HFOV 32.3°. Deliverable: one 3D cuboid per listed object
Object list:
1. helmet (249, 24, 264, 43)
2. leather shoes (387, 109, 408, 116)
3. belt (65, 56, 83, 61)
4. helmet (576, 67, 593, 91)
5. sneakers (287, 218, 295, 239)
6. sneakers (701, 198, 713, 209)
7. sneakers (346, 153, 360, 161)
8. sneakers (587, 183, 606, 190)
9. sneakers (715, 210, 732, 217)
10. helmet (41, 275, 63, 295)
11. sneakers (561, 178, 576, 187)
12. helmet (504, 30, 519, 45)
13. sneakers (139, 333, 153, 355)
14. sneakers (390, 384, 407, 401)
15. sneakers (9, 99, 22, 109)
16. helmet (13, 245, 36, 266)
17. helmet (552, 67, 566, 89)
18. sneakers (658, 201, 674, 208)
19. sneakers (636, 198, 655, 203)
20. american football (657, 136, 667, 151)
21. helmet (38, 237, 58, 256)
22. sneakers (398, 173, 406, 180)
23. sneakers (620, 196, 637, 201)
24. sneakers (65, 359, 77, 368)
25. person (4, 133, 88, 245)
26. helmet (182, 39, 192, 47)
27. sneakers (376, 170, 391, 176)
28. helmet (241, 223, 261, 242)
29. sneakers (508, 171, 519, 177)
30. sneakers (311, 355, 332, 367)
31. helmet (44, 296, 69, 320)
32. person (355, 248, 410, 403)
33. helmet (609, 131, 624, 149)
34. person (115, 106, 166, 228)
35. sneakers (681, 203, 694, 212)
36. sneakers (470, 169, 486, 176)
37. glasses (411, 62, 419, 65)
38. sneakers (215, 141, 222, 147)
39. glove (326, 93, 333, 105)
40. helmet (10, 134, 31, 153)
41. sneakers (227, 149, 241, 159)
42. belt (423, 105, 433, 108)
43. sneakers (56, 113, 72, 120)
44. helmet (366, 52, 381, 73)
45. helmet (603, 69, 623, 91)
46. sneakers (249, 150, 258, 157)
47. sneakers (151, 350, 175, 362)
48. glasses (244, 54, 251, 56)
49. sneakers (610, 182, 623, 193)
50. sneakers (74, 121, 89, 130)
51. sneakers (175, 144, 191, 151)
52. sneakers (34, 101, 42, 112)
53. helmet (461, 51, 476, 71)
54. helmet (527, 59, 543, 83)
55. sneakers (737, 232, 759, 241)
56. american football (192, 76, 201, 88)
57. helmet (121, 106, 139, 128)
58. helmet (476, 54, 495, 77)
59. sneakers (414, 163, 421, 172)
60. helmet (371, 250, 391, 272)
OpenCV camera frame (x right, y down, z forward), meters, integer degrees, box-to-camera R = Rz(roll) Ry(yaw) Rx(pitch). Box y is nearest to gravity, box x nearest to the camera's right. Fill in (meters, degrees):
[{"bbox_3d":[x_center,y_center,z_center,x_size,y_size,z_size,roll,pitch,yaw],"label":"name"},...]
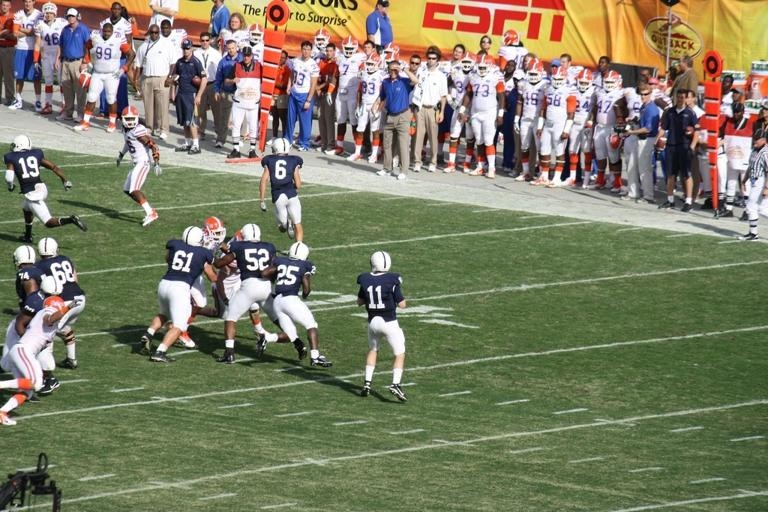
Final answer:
[{"bbox_3d":[-2.556,-4.416,26.720,0.292,0.406,0.351,3,6,-5],"label":"helmet"},{"bbox_3d":[0.312,-2.719,25.478,0.421,0.127,0.138,3,6,2],"label":"leather shoes"},{"bbox_3d":[-6.465,-4.047,27.642,0.367,0.094,0.083,2,6,-11],"label":"belt"},{"bbox_3d":[3.859,-3.341,25.405,0.364,0.349,0.454,3,14,13],"label":"helmet"},{"bbox_3d":[-1.492,-0.430,21.975,0.125,0.282,0.129,0,14,5],"label":"sneakers"},{"bbox_3d":[6.044,-0.959,24.654,0.110,0.226,0.226,-1,7,-41],"label":"sneakers"},{"bbox_3d":[-0.614,-1.967,26.927,0.145,0.081,0.250,-8,5,-44],"label":"sneakers"},{"bbox_3d":[4.163,-1.322,25.685,0.281,0.087,0.129,3,-1,-20],"label":"sneakers"},{"bbox_3d":[6.230,-0.751,24.049,0.271,0.149,0.076,1,7,-22],"label":"sneakers"},{"bbox_3d":[-4.268,0.390,17.099,0.215,0.225,0.277,36,3,-21],"label":"helmet"},{"bbox_3d":[3.629,-1.407,25.881,0.267,0.170,0.299,4,5,8],"label":"sneakers"},{"bbox_3d":[2.633,-4.368,26.953,0.294,0.338,0.650,4,5,4],"label":"helmet"},{"bbox_3d":[-3.286,1.209,18.125,0.169,0.167,0.384,8,-33,6],"label":"sneakers"},{"bbox_3d":[0.207,1.773,17.386,0.240,0.242,0.310,3,5,1],"label":"sneakers"},{"bbox_3d":[-8.008,-3.250,28.790,0.273,0.230,0.321,1,6,-18],"label":"sneakers"},{"bbox_3d":[-4.779,-0.002,17.813,0.295,0.241,0.342,1,7,-28],"label":"helmet"},{"bbox_3d":[3.352,-3.327,25.048,0.290,0.380,0.171,4,6,4],"label":"helmet"},{"bbox_3d":[5.263,-0.913,24.529,0.322,0.105,0.114,2,5,12],"label":"sneakers"},{"bbox_3d":[4.969,-1.014,24.946,0.345,0.103,0.110,2,12,7],"label":"sneakers"},{"bbox_3d":[5.057,-2.024,23.950,0.210,0.204,0.239,0,1,3],"label":"american football"},{"bbox_3d":[-4.538,-0.108,17.953,0.249,0.212,0.306,7,5,24],"label":"helmet"},{"bbox_3d":[0.385,-1.514,25.678,0.158,0.063,0.186,2,3,2],"label":"sneakers"},{"bbox_3d":[4.667,-1.065,24.947,0.256,0.084,0.099,1,9,14],"label":"sneakers"},{"bbox_3d":[-4.164,1.445,17.762,0.134,0.104,0.092,-2,4,32],"label":"sneakers"},{"bbox_3d":[-5.535,-1.038,21.418,1.193,1.698,0.701,4,6,2],"label":"person"},{"bbox_3d":[-3.913,-4.184,26.500,0.198,0.111,0.246,2,1,4],"label":"helmet"},{"bbox_3d":[0.014,-1.601,26.002,0.102,0.104,0.281,10,4,42],"label":"sneakers"},{"bbox_3d":[-1.806,-0.307,18.427,0.260,0.220,0.316,4,-5,-25],"label":"helmet"},{"bbox_3d":[2.640,-1.608,26.489,0.143,0.125,0.362,5,8,-1],"label":"sneakers"},{"bbox_3d":[-0.845,1.438,18.010,0.326,0.120,0.126,0,10,-2],"label":"sneakers"},{"bbox_3d":[-4.180,0.652,16.901,0.287,0.259,0.227,2,6,-15],"label":"helmet"},{"bbox_3d":[0.049,0.911,17.520,0.798,1.903,0.664,5,6,14],"label":"person"},{"bbox_3d":[4.364,-2.119,24.686,0.249,0.270,0.304,14,-10,14],"label":"helmet"},{"bbox_3d":[-4.254,-1.557,23.121,0.735,2.007,1.442,3,6,-10],"label":"person"},{"bbox_3d":[5.614,-0.875,24.381,0.184,0.156,0.228,4,6,7],"label":"sneakers"},{"bbox_3d":[1.926,-1.651,26.453,0.352,0.153,0.145,0,6,-24],"label":"sneakers"},{"bbox_3d":[0.638,-3.638,25.286,0.169,0.059,0.065,-1,7,-38],"label":"glasses"},{"bbox_3d":[-3.397,-2.263,27.302,0.158,0.138,0.061,7,7,34],"label":"sneakers"},{"bbox_3d":[-1.069,-3.151,26.979,0.162,0.206,0.174,3,6,-2],"label":"glove"},{"bbox_3d":[-5.855,-1.783,21.385,0.266,0.255,0.281,3,6,1],"label":"helmet"},{"bbox_3d":[-2.963,-2.006,26.428,0.271,0.183,0.318,2,5,-7],"label":"sneakers"},{"bbox_3d":[0.894,-2.876,25.908,0.164,0.075,0.033,2,6,-3],"label":"belt"},{"bbox_3d":[-6.818,-2.928,28.287,0.339,0.116,0.154,2,1,9],"label":"sneakers"},{"bbox_3d":[-0.180,-3.776,26.255,0.321,0.394,0.262,4,6,1],"label":"helmet"},{"bbox_3d":[4.343,-3.271,25.012,0.323,0.345,0.377,4,6,7],"label":"helmet"},{"bbox_3d":[-2.604,-2.017,26.577,0.181,0.154,0.237,3,5,-6],"label":"sneakers"},{"bbox_3d":[-2.998,1.356,18.106,0.203,0.171,0.344,8,7,39],"label":"sneakers"},{"bbox_3d":[-2.647,-3.873,25.919,0.132,0.061,0.090,1,6,-13],"label":"glasses"},{"bbox_3d":[4.578,-1.302,25.651,0.166,0.203,0.349,8,7,39],"label":"sneakers"},{"bbox_3d":[-6.314,-2.666,27.596,0.293,0.192,0.252,3,5,-3],"label":"sneakers"},{"bbox_3d":[-4.038,-2.142,26.749,0.373,0.117,0.128,1,5,0],"label":"sneakers"},{"bbox_3d":[-7.461,-3.190,28.636,0.128,0.240,0.390,2,5,-15],"label":"sneakers"},{"bbox_3d":[1.734,-3.746,25.954,0.353,0.316,0.382,2,-6,17],"label":"helmet"},{"bbox_3d":[2.963,-3.498,25.462,0.323,0.447,0.276,4,6,3],"label":"helmet"},{"bbox_3d":[6.313,-0.318,22.787,0.375,0.122,0.120,3,8,7],"label":"sneakers"},{"bbox_3d":[-3.717,-3.424,26.453,0.169,0.172,0.187,21,53,41],"label":"american football"},{"bbox_3d":[-4.340,-2.345,22.742,0.264,0.372,0.416,2,6,-14],"label":"helmet"},{"bbox_3d":[1.993,-3.627,25.564,0.322,0.394,0.191,3,6,-4],"label":"helmet"},{"bbox_3d":[0.696,-1.722,26.379,0.155,0.178,0.228,3,5,0],"label":"sneakers"},{"bbox_3d":[0.015,0.075,17.496,0.265,0.216,0.289,0,11,-16],"label":"helmet"}]
